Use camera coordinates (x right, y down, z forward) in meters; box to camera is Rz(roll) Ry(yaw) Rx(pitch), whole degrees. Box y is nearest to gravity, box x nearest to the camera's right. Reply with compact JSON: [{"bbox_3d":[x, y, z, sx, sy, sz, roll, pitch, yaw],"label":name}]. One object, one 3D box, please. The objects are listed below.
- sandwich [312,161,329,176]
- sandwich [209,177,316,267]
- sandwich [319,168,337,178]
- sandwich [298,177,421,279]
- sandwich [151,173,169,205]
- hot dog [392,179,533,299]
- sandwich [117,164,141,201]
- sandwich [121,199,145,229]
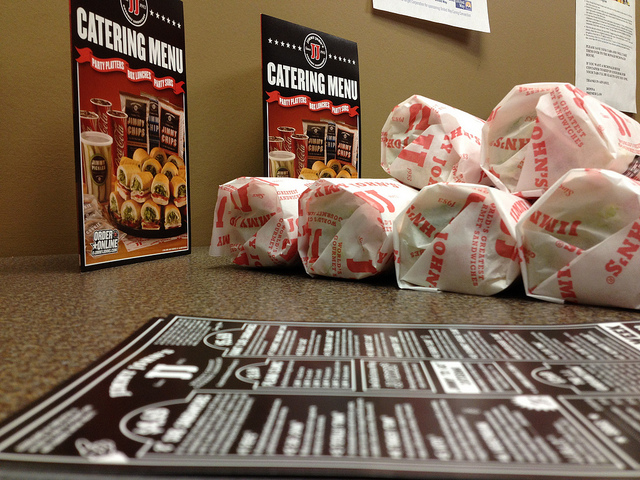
[{"bbox_3d":[0.003,-0.255,1.540,0.048,0.038,0.038,1,37,-5],"label":"sandwich"},{"bbox_3d":[-0.150,-0.057,1.283,0.280,0.203,0.332,6,7,11],"label":"sandwich"},{"bbox_3d":[0.027,-0.241,1.577,0.048,0.039,0.012,14,-1,-39],"label":"sandwich"},{"bbox_3d":[0.107,-0.036,1.095,0.195,0.110,0.339,14,13,23],"label":"sandwich"},{"bbox_3d":[-0.458,-0.147,1.254,0.006,0.090,0.059,6,11,32],"label":"sandwich"},{"bbox_3d":[0.325,0.004,0.981,0.271,0.193,0.329,0,4,24],"label":"hot dog"},{"bbox_3d":[-0.516,-0.149,1.184,0.072,0.054,0.058,20,31,-25],"label":"sandwich"},{"bbox_3d":[-0.513,-0.070,1.191,0.007,0.081,0.066,5,11,28],"label":"sandwich"}]
